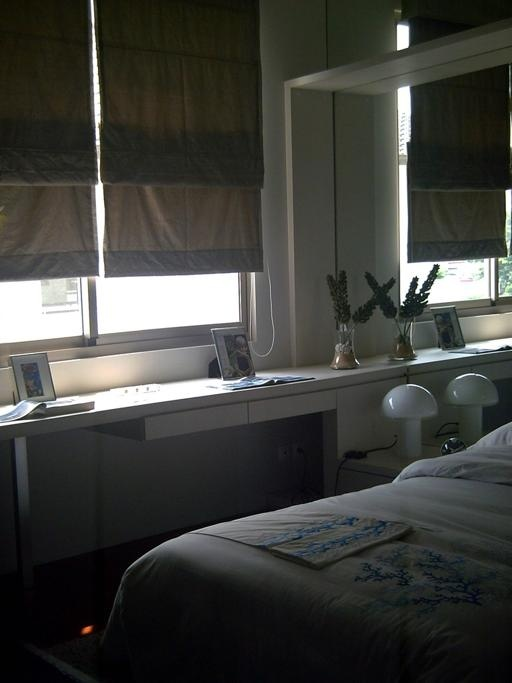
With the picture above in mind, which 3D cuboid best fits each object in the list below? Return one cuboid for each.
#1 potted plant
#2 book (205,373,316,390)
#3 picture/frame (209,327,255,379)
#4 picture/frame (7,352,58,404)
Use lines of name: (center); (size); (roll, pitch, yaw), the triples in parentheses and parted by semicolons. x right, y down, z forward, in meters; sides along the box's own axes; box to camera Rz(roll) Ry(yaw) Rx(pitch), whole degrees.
potted plant: (0.746, -0.167, 3.300); (0.597, 0.528, 0.207); (-2, 1, -23)
book: (0.019, 0.204, 2.799); (0.533, 0.065, 0.282); (-7, -2, -33)
picture/frame: (-0.137, 0.066, 2.945); (0.020, 0.297, 0.237); (-14, -3, 41)
picture/frame: (-0.936, 0.153, 2.312); (0.170, 0.244, 0.025); (-12, -10, -36)
